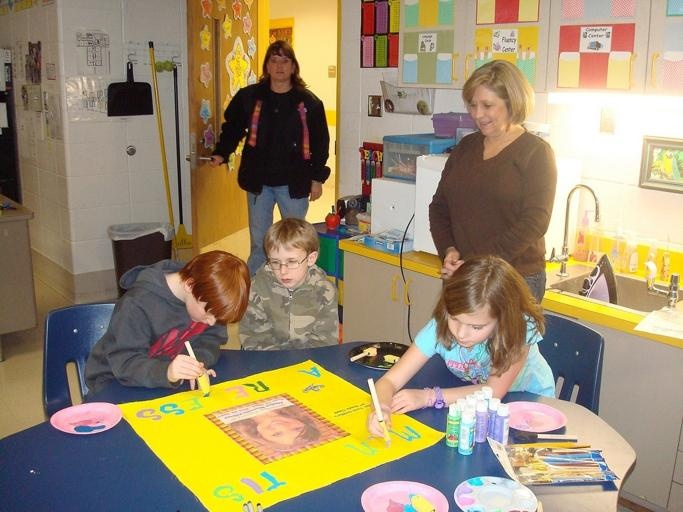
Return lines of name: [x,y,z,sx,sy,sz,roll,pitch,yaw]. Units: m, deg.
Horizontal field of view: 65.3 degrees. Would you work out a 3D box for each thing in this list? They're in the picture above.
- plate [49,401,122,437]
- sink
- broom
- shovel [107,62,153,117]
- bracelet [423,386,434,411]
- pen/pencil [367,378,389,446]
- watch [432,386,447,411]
plate: [-0.749,0.484,1.561,0.188,0.029,0.193,5,7,-26]
sink: [1.413,0.187,2.849,0.243,0.314,0.472,-12,20,-38]
broom: [-1.621,-0.927,5.312,0.163,1.890,0.143,-9,16,-37]
shovel: [-1.949,-1.540,4.922,0.414,0.502,0.051,-3,-2,0]
bracelet: [0.278,0.461,1.721,0.034,0.047,0.019,0,-7,17]
pen/pencil: [0.108,0.470,1.580,0.020,0.180,0.021,-10,-23,-19]
watch: [0.308,0.457,1.701,0.040,0.058,0.022,-3,-15,9]
